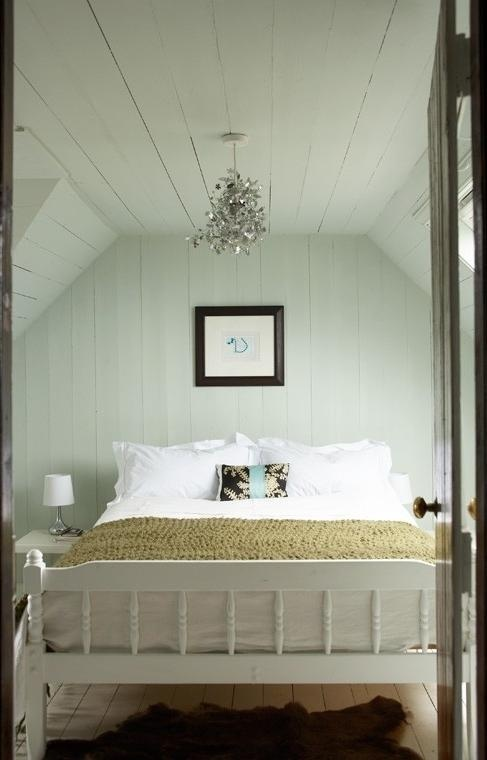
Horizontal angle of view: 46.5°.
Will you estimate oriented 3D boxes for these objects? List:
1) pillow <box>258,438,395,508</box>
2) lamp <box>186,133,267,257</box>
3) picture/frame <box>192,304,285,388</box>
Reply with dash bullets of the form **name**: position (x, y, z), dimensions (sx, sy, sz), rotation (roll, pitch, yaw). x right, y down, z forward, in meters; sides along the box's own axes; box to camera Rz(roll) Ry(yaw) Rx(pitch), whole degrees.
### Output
- **pillow**: position (0.513, 0.513, 3.241), dimensions (0.413, 0.154, 0.443), rotation (2, 40, -10)
- **lamp**: position (-0.026, -0.772, 2.385), dimensions (0.282, 0.489, 0.280), rotation (-19, 27, -39)
- **picture/frame**: position (-0.014, -0.210, 3.662), dimensions (0.400, 0.520, 0.039), rotation (-1, 1, 3)
